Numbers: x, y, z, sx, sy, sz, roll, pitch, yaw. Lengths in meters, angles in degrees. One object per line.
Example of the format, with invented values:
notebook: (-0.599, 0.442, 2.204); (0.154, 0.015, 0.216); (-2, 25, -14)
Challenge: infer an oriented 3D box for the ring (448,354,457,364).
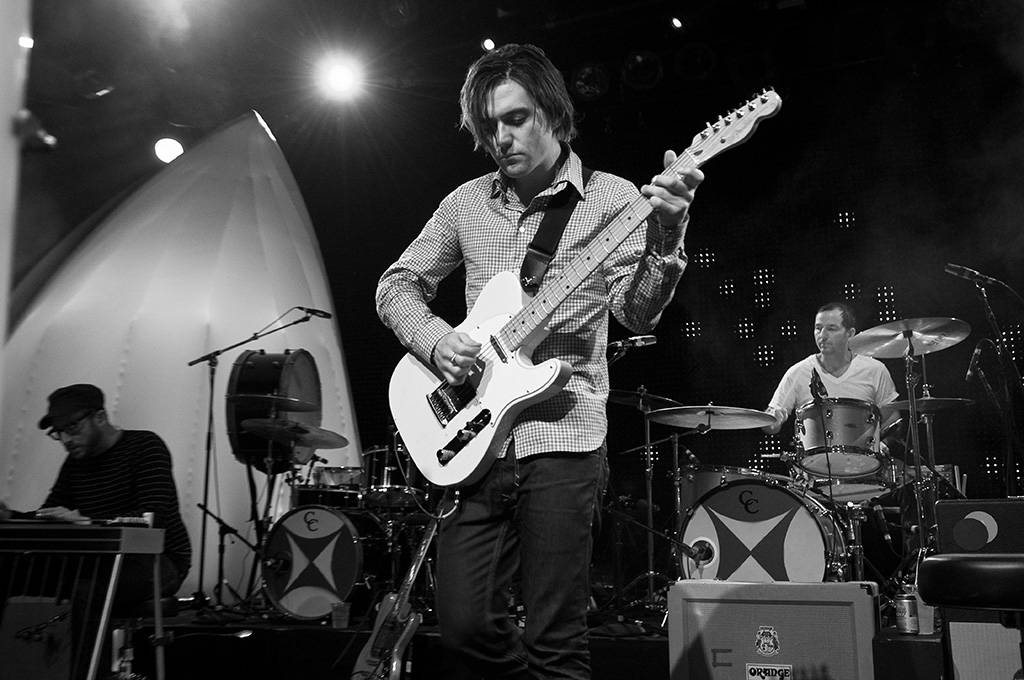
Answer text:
ring: (-0.294, 0.082, 4.437); (0.034, 0.036, 0.008); (1, -3, 39)

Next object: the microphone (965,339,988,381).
microphone: (3.930, 0.162, 7.799); (0.062, 0.377, 0.087); (17, 35, 23)

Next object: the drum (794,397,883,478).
drum: (2.474, 0.758, 7.105); (0.604, 0.441, 0.607); (2, -21, 1)

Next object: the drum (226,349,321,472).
drum: (-2.071, 0.602, 8.012); (0.549, 1.189, 1.089); (1, 0, 21)

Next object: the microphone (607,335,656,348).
microphone: (1.001, 0.005, 7.681); (0.210, 0.076, 0.504); (3, -8, -34)

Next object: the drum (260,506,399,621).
drum: (-1.437, 1.734, 7.548); (1.006, 1.055, 0.794); (-2, -3, 22)

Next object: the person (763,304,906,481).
person: (2.782, 0.364, 8.028); (1.141, 1.378, 0.894); (-6, 21, 9)

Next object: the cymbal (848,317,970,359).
cymbal: (3.151, 0.040, 7.358); (0.875, 0.302, 0.589); (-5, -21, 14)

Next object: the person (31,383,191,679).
person: (-3.162, 1.224, 7.142); (1.229, 1.804, 1.194); (-8, -4, 27)

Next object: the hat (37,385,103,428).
hat: (-3.397, 0.446, 7.083); (0.416, 0.250, 0.320); (-6, -18, -33)

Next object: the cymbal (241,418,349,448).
cymbal: (-1.827, 0.785, 7.786); (0.783, 0.117, 0.740); (1, -20, -2)
